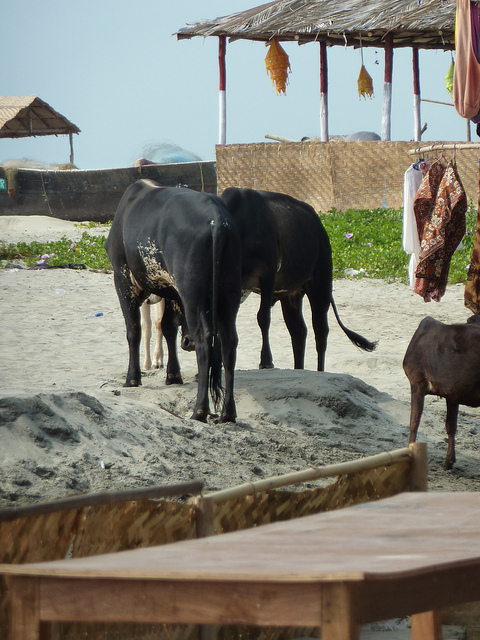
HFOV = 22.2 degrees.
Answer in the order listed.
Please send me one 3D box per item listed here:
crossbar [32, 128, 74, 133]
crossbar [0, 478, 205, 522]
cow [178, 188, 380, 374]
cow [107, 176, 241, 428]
[{"bbox_3d":[-5.247,-5.315,34.207,1.100,0.150,0.407,-1,4,-13],"label":"crossbar"},{"bbox_3d":[-0.464,0.606,4.123,0.765,0.070,0.115,-2,5,-33],"label":"crossbar"},{"bbox_3d":[0.420,-0.349,9.181,0.680,1.432,3.114,-3,-13,25],"label":"cow"},{"bbox_3d":[-0.482,-0.185,8.204,0.512,1.475,2.186,-2,7,-21],"label":"cow"}]
